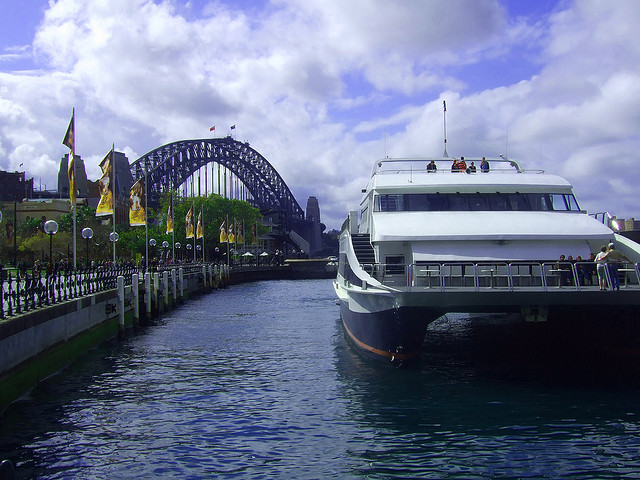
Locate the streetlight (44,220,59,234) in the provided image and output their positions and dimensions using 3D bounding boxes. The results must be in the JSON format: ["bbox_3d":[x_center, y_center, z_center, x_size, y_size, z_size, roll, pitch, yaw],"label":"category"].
[{"bbox_3d":[-15.862,-0.806,30.247,0.650,0.658,0.951,-1,-1,-34],"label":"streetlight"}]

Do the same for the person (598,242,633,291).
[{"bbox_3d":[10.858,1.012,18.906,1.354,1.878,0.363,0,-2,19],"label":"person"}]

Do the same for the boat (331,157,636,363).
[{"bbox_3d":[6.271,0.805,21.140,10.211,8.359,8.291,-1,-1,0],"label":"boat"}]

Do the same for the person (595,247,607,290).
[{"bbox_3d":[9.876,1.037,18.041,0.361,1.008,0.819,-2,-1,29],"label":"person"}]

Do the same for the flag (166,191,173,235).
[{"bbox_3d":[-18.392,-3.024,62.524,0.509,4.086,6.250,-1,-1,-17],"label":"flag"}]

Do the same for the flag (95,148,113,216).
[{"bbox_3d":[-15.616,-4.025,37.290,1.037,4.412,2.450,-1,-1,-24],"label":"flag"}]
